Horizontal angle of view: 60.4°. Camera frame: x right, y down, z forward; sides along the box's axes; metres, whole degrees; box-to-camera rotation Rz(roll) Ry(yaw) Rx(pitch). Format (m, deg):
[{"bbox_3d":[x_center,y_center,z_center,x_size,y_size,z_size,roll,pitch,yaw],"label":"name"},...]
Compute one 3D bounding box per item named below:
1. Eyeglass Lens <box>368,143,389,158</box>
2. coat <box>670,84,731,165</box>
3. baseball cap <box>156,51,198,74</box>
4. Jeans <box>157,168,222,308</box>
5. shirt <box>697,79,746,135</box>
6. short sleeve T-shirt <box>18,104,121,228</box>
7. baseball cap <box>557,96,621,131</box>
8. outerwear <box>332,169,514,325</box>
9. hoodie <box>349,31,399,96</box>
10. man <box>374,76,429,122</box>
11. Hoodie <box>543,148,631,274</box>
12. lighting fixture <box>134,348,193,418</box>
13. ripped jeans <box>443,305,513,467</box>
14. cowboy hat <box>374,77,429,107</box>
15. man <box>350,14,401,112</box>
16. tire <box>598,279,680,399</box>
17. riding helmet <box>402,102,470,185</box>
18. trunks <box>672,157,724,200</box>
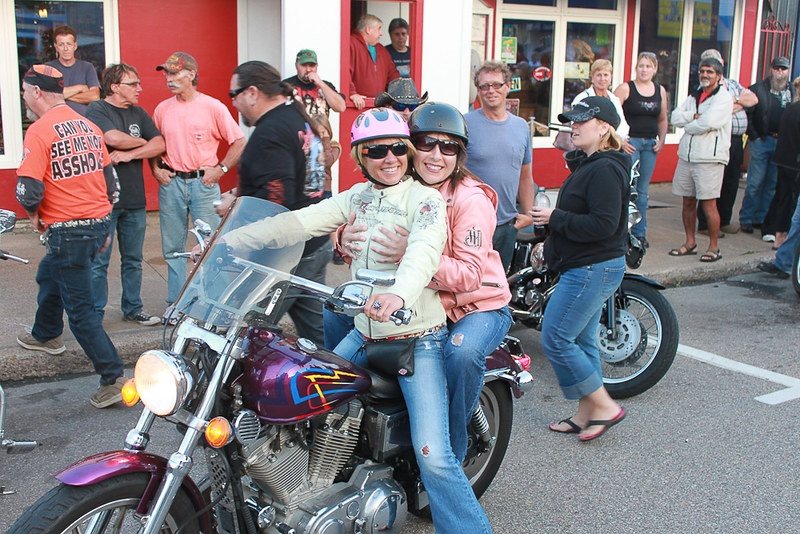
[{"bbox_3d":[-0.125,-0.659,3.931,0.135,0.084,0.026,-1,14,-2],"label":"Eyeglass Lens"},{"bbox_3d":[4.337,-2.048,9.876,0.764,1.069,0.478,6,16,23],"label":"coat"},{"bbox_3d":[-2.376,-2.183,7.340,0.315,0.208,0.411,-6,16,-20],"label":"baseball cap"},{"bbox_3d":[-2.248,-0.275,7.301,0.628,1.540,0.405,-3,-20,14],"label":"Jeans"},{"bbox_3d":[5.159,-2.439,10.663,0.481,0.994,0.713,-7,14,-24],"label":"shirt"},{"bbox_3d":[-2.827,-0.861,5.814,0.469,0.963,1.005,8,19,23],"label":"short sleeve T-shirt"},{"bbox_3d":[1.467,-1.171,5.292,0.347,0.214,0.248,17,17,-4],"label":"baseball cap"},{"bbox_3d":[0.139,-0.138,4.463,0.799,1.166,1.008,-10,17,-20],"label":"outerwear"},{"bbox_3d":[-0.459,-2.968,10.110,1.365,0.910,0.397,-11,15,-37],"label":"hoodie"},{"bbox_3d":[0.051,-2.077,8.182,0.606,0.348,0.758,1,8,-3],"label":"man"},{"bbox_3d":[1.500,-0.442,5.587,0.646,1.060,1.046,6,5,7],"label":"Hoodie"},{"bbox_3d":[-1.184,0.568,3.471,0.334,0.354,0.196,15,18,24],"label":"lighting fixture"},{"bbox_3d":[0.413,0.688,4.117,0.222,0.785,0.540,10,1,20],"label":"ripped jeans"},{"bbox_3d":[-0.028,-2.014,8.151,0.593,0.287,0.664,-2,12,-7],"label":"cowboy hat"},{"bbox_3d":[-0.412,-2.991,9.968,0.840,1.199,0.657,-16,31,-26],"label":"man"},{"bbox_3d":[2.073,0.656,6.057,0.842,0.975,0.302,12,9,29],"label":"tire"},{"bbox_3d":[0.239,-0.751,4.161,0.410,0.507,0.454,-1,14,-2],"label":"riding helmet"},{"bbox_3d":[4.311,-1.284,9.905,0.366,0.629,0.620,11,-1,-36],"label":"trunks"}]
